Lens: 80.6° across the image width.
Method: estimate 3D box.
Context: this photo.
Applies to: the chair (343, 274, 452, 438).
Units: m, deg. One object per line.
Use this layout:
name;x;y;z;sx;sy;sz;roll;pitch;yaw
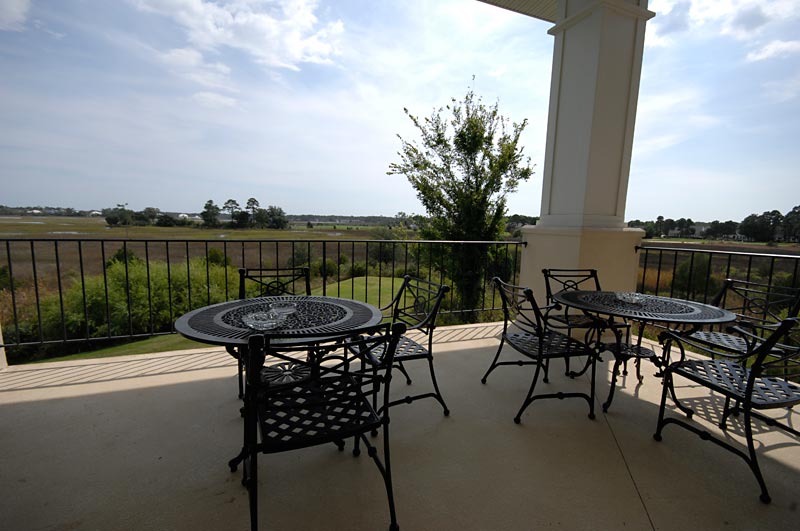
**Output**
chair;0.045;0.953;6.618;1.537;2.340;1.598;0;5;-21
